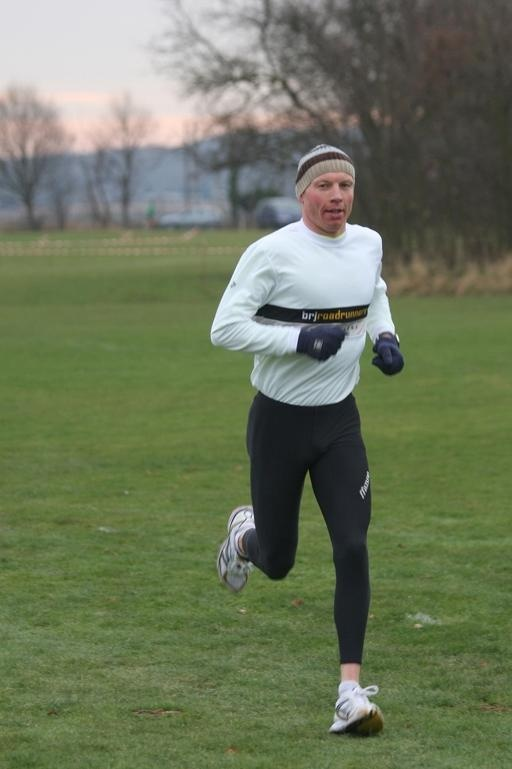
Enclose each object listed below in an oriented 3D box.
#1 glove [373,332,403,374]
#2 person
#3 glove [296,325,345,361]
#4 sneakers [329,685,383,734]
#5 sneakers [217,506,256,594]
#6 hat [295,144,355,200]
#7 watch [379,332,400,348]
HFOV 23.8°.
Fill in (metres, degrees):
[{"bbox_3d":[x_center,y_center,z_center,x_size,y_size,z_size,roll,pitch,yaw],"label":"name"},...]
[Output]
[{"bbox_3d":[0.479,-0.107,4.347,0.111,0.070,0.158,-1,38,1],"label":"glove"},{"bbox_3d":[0.176,0.123,4.213,0.662,1.868,1.170,1,14,1],"label":"person"},{"bbox_3d":[0.214,-0.140,4.021,0.148,0.104,0.127,4,13,12],"label":"glove"},{"bbox_3d":[0.293,1.066,4.016,0.136,0.134,0.340,-8,-10,-26],"label":"sneakers"},{"bbox_3d":[-0.086,0.675,4.875,0.154,0.354,0.167,5,-1,-16],"label":"sneakers"},{"bbox_3d":[0.264,-0.782,4.225,0.162,0.124,0.148,4,-11,-40],"label":"hat"},{"bbox_3d":[0.487,-0.160,4.387,0.069,0.055,0.063,-1,4,13],"label":"watch"}]
